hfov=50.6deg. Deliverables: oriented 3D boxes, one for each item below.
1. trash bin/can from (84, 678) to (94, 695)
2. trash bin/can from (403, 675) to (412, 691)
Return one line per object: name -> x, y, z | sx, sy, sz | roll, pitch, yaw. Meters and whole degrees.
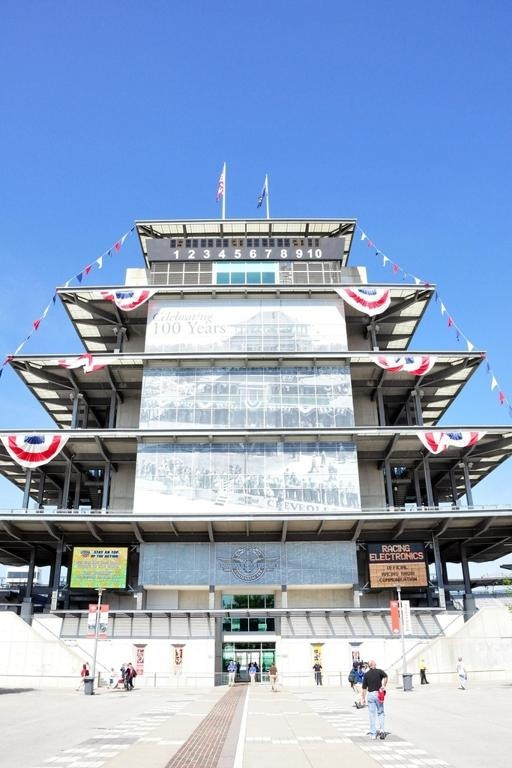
trash bin/can -> -8.313, 15.069, 26.893 | 0.376, 0.752, 0.515 | 14, -30, -28
trash bin/can -> 7.545, 14.859, 26.877 | 0.417, 0.726, 0.900 | -5, -26, 8
